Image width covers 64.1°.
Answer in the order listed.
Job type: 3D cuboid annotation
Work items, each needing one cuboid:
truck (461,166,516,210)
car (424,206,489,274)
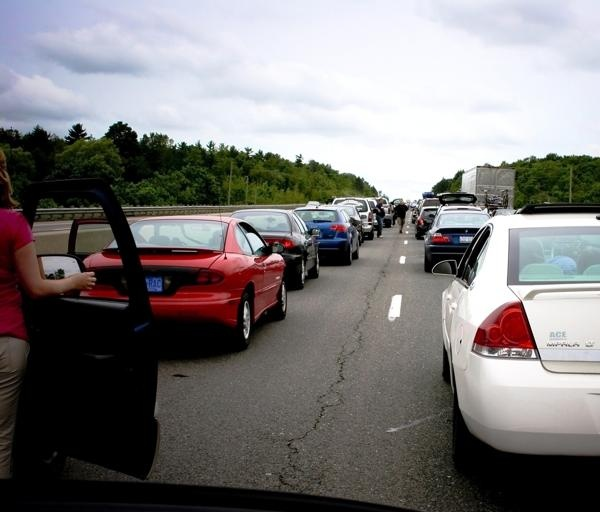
[{"bbox_3d":[18.228,-6.597,45.302,3.530,3.923,2.079,1,3,14],"label":"truck"},{"bbox_3d":[5.057,-0.641,16.270,1.770,1.515,4.466,0,7,6],"label":"car"}]
